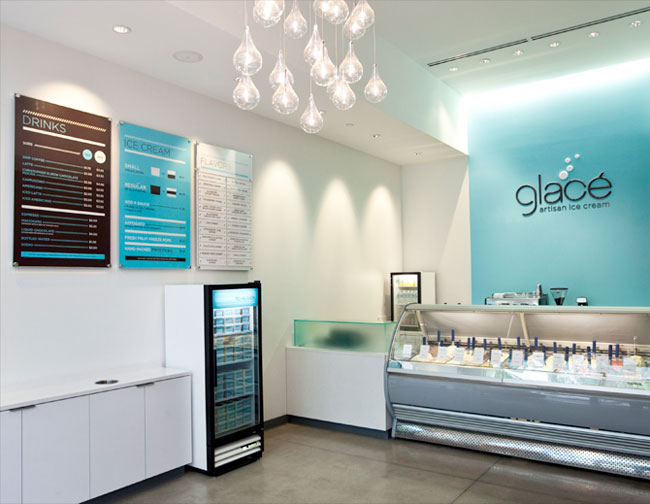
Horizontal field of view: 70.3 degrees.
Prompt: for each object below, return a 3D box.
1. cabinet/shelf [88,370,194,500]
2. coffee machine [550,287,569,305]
[{"bbox_3d":[-1.649,1.626,4.082,0.383,0.877,1.022,-4,-4,32],"label":"cabinet/shelf"},{"bbox_3d":[3.499,0.648,6.894,0.245,0.233,0.231,4,-6,-24],"label":"coffee machine"}]
